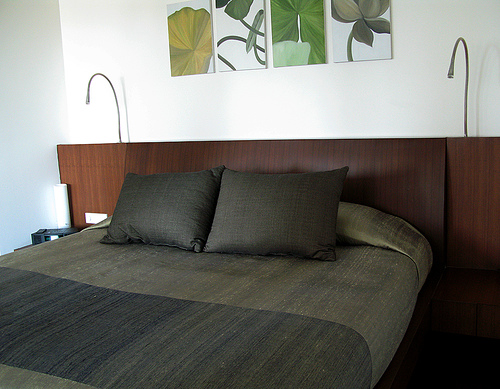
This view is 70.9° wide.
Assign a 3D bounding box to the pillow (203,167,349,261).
[{"bbox_3d":[0.155,0.099,2.120,0.811,0.482,0.363,1,10,19],"label":"pillow"}]

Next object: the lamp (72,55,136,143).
[{"bbox_3d":[-1.391,-0.848,3.411,0.347,0.681,0.383,-7,11,-25],"label":"lamp"}]

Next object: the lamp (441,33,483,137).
[{"bbox_3d":[1.291,-0.674,2.171,0.142,0.636,0.328,4,11,32],"label":"lamp"}]
